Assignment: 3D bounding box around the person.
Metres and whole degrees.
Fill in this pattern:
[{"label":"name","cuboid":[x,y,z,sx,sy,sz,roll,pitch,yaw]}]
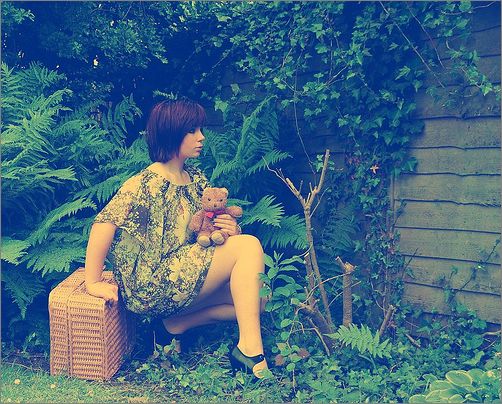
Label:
[{"label":"person","cuboid":[-0.434,0.223,3.304,1.174,1.660,1.160,5,8,-17]}]
